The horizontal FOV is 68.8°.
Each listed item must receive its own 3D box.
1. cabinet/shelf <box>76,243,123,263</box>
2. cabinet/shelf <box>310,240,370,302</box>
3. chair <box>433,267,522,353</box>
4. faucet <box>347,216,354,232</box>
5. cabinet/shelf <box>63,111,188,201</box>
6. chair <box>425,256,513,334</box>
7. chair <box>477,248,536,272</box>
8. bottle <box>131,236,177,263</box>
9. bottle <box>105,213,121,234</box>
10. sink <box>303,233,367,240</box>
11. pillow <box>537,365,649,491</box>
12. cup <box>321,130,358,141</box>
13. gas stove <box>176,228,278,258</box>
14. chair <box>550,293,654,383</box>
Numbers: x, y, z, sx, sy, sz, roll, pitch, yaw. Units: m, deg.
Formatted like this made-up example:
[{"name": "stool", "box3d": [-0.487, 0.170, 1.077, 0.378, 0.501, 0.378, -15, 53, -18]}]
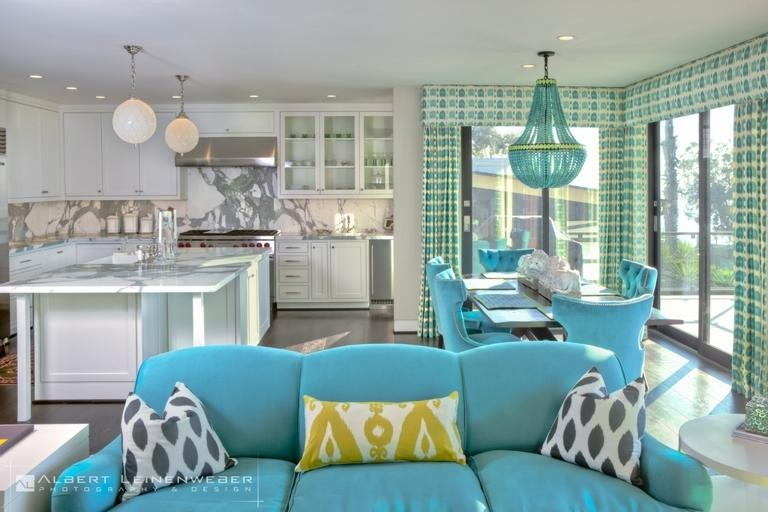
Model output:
[{"name": "cabinet/shelf", "box3d": [-3.923, -0.065, 7.745, 0.541, 0.250, 0.150, -3, 5, -1]}, {"name": "cabinet/shelf", "box3d": [-0.532, 0.240, 8.296, 1.195, 1.129, 0.763, 0, 0, 0]}, {"name": "chair", "box3d": [0.724, 0.427, 4.727, 0.689, 0.760, 0.645, -3, 5, -7]}, {"name": "faucet", "box3d": [-0.504, -0.503, 8.437, 0.107, 0.249, 0.101, -3, 5, -1]}, {"name": "cabinet/shelf", "box3d": [-3.459, -1.350, 7.384, 1.271, 1.010, 0.473, 0, 3, -4]}, {"name": "chair", "box3d": [0.774, 0.340, 5.350, 0.766, 0.894, 0.669, -2, 6, -5]}, {"name": "chair", "box3d": [1.312, 0.043, 6.222, 0.428, 0.385, 0.294, 1, -3, -1]}, {"name": "bottle", "box3d": [-2.304, -0.066, 5.689, 0.339, 0.164, 0.428, 1, 2, -2]}, {"name": "bottle", "box3d": [-3.899, -0.484, 8.137, 0.272, 0.334, 0.264, 0, 1, 0]}, {"name": "sink", "box3d": [-0.684, -0.272, 7.961, 0.891, 0.085, 0.235, -3, 5, -3]}, {"name": "pillow", "box3d": [1.150, 0.985, 3.132, 0.580, 0.514, 0.300, 7, 3, 33]}, {"name": "cup", "box3d": [-0.619, -1.714, 7.945, 0.446, 0.112, 0.079, -3, 5, -3]}, {"name": "gas stove", "box3d": [-2.231, -0.189, 7.863, 1.358, 0.381, 1.299, 0, 5, 22]}, {"name": "chair", "box3d": [1.569, 0.570, 4.292, 0.714, 0.710, 0.662, -1, 5, 2]}]
